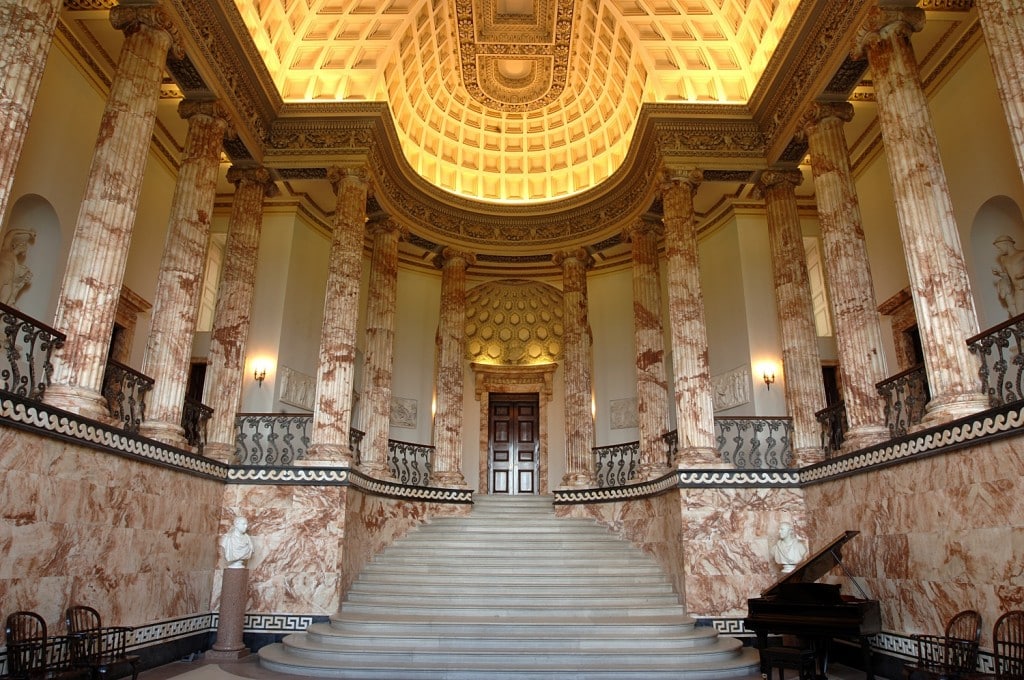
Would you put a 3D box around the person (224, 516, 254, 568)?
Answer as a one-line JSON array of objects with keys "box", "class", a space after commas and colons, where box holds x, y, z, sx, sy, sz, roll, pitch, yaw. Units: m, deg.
[{"box": [-5.131, 3.918, 10.578, 0.512, 1.109, 0.939, 1, 3, -25], "class": "person"}]

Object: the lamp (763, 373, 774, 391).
[{"box": [6.550, 1.159, 14.379, 0.220, 0.387, 0.098, 2, 2, 12], "class": "lamp"}]
